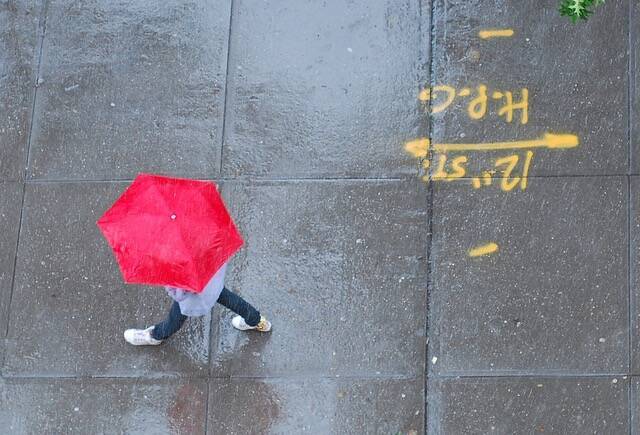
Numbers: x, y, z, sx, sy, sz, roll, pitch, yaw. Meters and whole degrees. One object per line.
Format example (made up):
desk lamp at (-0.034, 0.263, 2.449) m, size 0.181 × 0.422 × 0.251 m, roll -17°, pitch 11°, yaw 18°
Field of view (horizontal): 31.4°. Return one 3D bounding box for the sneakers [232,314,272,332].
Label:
sneakers at (-0.706, 1.111, 11.982) m, size 0.408 × 0.173 × 0.170 m, roll 1°, pitch 73°, yaw 5°

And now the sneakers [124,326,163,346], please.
sneakers at (-1.848, 1.238, 11.970) m, size 0.391 × 0.166 × 0.184 m, roll 0°, pitch 88°, yaw -7°
